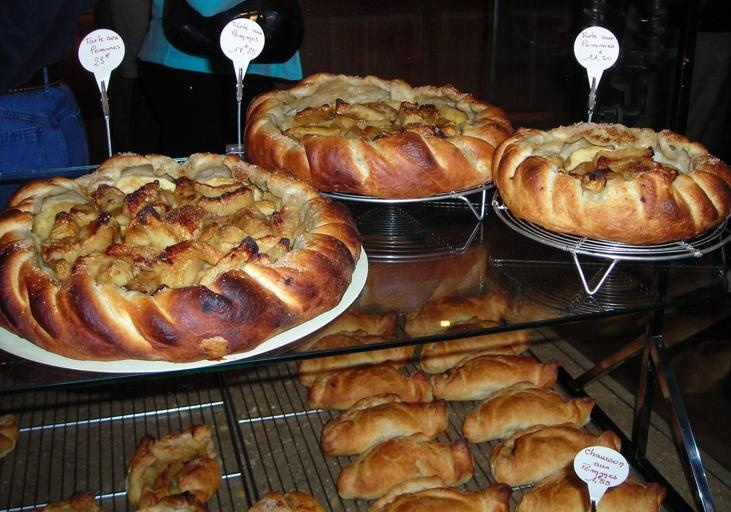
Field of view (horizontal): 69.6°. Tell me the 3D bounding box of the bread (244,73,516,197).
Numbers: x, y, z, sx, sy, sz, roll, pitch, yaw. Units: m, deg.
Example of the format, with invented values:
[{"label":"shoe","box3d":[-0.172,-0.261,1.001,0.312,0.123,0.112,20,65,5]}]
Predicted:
[{"label":"bread","box3d":[0.032,-0.380,1.686,0.677,0.154,0.619,5,23,-5]}]
